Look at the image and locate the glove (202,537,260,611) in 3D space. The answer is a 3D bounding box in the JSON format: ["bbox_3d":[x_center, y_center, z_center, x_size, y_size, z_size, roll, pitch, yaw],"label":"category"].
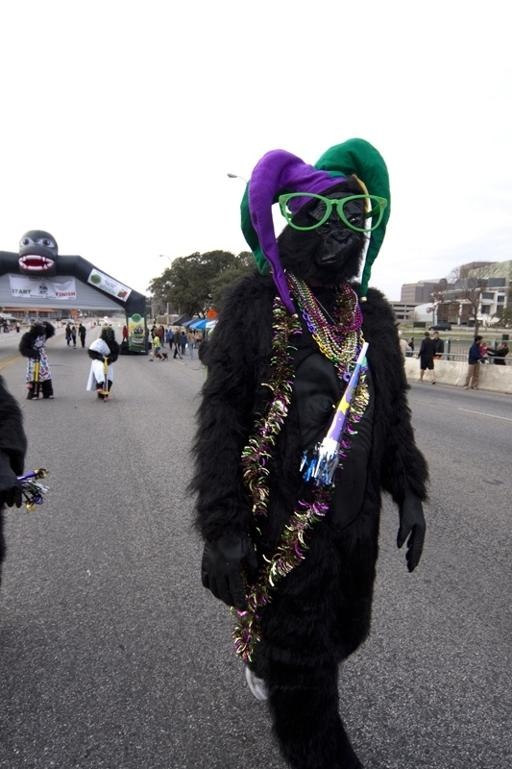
[{"bbox_3d":[-0.062,0.432,1.261,0.127,0.170,0.112,-1,5,-4],"label":"glove"}]

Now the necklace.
[{"bbox_3d":[0.201,-0.161,1.524,0.227,0.082,0.269,5,48,-36],"label":"necklace"}]
